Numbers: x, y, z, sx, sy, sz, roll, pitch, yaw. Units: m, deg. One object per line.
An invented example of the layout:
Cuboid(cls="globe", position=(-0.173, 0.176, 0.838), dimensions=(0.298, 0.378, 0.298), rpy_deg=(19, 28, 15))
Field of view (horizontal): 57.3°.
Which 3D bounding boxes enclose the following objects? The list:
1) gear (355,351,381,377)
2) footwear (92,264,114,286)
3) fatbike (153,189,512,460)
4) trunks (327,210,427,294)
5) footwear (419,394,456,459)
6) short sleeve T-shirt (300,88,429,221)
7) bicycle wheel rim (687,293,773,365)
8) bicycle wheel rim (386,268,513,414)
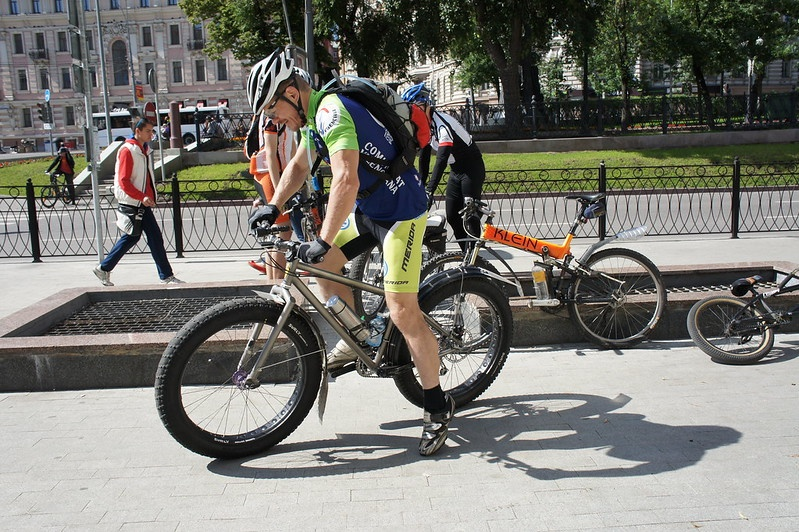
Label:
Cuboid(cls="gear", position=(-0.271, 0.845, 6.249), dimensions=(0.055, 0.213, 0.197), rpy_deg=(-3, 6, -35))
Cuboid(cls="footwear", position=(-4.154, 0.128, 10.272), dimensions=(0.131, 0.278, 0.098), rpy_deg=(-16, 27, 27))
Cuboid(cls="fatbike", position=(-0.642, 0.617, 6.983), dimensions=(3.185, 1.933, 1.545), rpy_deg=(-6, 2, -19))
Cuboid(cls="trunks", position=(-0.172, -0.208, 6.264), dimensions=(0.468, 0.633, 0.916), rpy_deg=(-8, 20, -43))
Cuboid(cls="footwear", position=(0.310, 1.345, 6.051), dimensions=(0.188, 0.571, 0.263), rpy_deg=(6, -21, 40))
Cuboid(cls="short sleeve T-shirt", position=(-0.261, -0.899, 5.956), dimensions=(0.930, 1.087, 0.452), rpy_deg=(-5, 10, -7))
Cuboid(cls="bicycle wheel rim", position=(3.315, 0.637, 7.369), dimensions=(0.783, 0.601, 0.459), rpy_deg=(-1, 10, 11))
Cuboid(cls="bicycle wheel rim", position=(0.408, 0.659, 6.388), dimensions=(0.939, 0.939, 0.268), rpy_deg=(-36, 36, -11))
